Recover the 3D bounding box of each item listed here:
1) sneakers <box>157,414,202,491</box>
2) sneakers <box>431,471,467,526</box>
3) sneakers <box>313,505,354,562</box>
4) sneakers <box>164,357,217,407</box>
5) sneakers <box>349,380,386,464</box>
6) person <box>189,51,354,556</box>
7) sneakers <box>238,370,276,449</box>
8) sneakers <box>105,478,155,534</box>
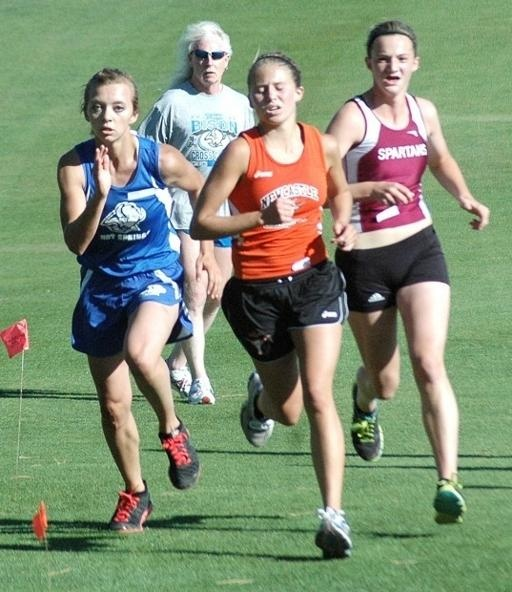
[{"bbox_3d":[-0.307,0.644,3.002,0.132,0.308,0.144,-26,-22,11],"label":"sneakers"},{"bbox_3d":[0.684,0.748,2.550,0.101,0.180,0.171,-4,5,13],"label":"sneakers"},{"bbox_3d":[0.255,0.792,2.403,0.117,0.187,0.173,-5,5,5],"label":"sneakers"},{"bbox_3d":[-0.414,0.567,4.688,0.152,0.165,0.394,-27,25,-22],"label":"sneakers"},{"bbox_3d":[0.536,0.684,3.655,0.118,0.284,0.141,-19,-28,19],"label":"sneakers"},{"bbox_3d":[0.070,-0.097,2.751,0.606,1.618,0.829,-4,5,11],"label":"person"},{"bbox_3d":[-0.005,0.580,3.665,0.161,0.389,0.179,-3,26,-4],"label":"sneakers"},{"bbox_3d":[-0.497,0.841,2.854,0.093,0.093,0.229,1,18,8],"label":"sneakers"}]
